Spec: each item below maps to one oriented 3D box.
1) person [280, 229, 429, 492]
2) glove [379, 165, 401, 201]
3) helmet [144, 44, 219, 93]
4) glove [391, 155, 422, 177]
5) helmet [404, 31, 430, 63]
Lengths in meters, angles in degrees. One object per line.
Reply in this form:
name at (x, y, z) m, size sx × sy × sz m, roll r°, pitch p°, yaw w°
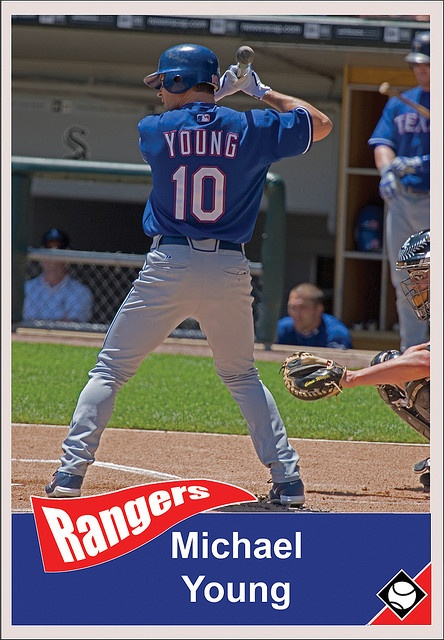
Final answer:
person at (0.630, 0.136, 3.801) m, size 0.839 × 0.873 × 0.406 m, roll -3°, pitch -5°, yaw 2°
glove at (0.839, -0.692, 5.142) m, size 0.090 × 0.163 × 0.180 m, roll 1°, pitch 0°, yaw 9°
helmet at (-0.151, -0.942, 3.805) m, size 0.276 × 0.177 × 0.200 m, roll 6°, pitch 13°, yaw 18°
glove at (0.908, -0.765, 5.056) m, size 0.149 × 0.099 × 0.081 m, roll 1°, pitch 0°, yaw -16°
helmet at (0.971, -1.351, 5.083) m, size 0.132 × 0.106 × 0.191 m, roll -2°, pitch -5°, yaw 4°
